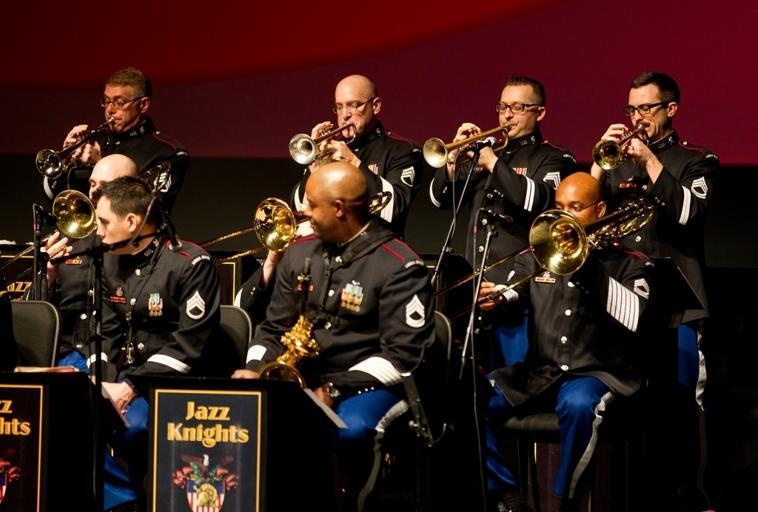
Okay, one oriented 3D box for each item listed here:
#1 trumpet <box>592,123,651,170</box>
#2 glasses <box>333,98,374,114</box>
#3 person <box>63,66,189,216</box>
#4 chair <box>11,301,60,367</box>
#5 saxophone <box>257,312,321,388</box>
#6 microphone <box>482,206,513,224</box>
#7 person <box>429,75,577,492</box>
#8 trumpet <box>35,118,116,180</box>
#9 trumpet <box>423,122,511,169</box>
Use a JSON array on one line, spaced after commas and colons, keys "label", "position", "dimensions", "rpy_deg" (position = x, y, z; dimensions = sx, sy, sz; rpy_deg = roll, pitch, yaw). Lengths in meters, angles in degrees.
[{"label": "trumpet", "position": [1.805, -0.811, 6.120], "dimensions": [0.457, 0.217, 0.341], "rpy_deg": [-14, -33, -50]}, {"label": "glasses", "position": [-0.208, -1.189, 6.520], "dimensions": [0.323, 0.121, 0.104], "rpy_deg": [-2, -12, 8]}, {"label": "person", "position": [-2.174, -1.090, 7.133], "dimensions": [1.028, 1.589, 0.956], "rpy_deg": [-1, 12, -17]}, {"label": "chair", "position": [-2.225, 0.489, 5.299], "dimensions": [0.352, 0.471, 0.393], "rpy_deg": [0, -3, -7]}, {"label": "saxophone", "position": [-0.527, 0.560, 4.957], "dimensions": [0.276, 0.412, 0.387], "rpy_deg": [0, 5, 4]}, {"label": "microphone", "position": [0.830, -0.282, 5.751], "dimensions": [0.075, 0.077, 0.448], "rpy_deg": [12, -3, 33]}, {"label": "person", "position": [0.796, 0.163, 6.365], "dimensions": [1.076, 3.072, 1.088], "rpy_deg": [4, -1, 31]}, {"label": "trumpet", "position": [-2.715, -0.969, 7.149], "dimensions": [0.304, 0.292, 1.128], "rpy_deg": [-43, 0, 34]}, {"label": "trumpet", "position": [0.694, -0.856, 6.342], "dimensions": [0.664, 0.364, 0.398], "rpy_deg": [7, 13, 33]}]
